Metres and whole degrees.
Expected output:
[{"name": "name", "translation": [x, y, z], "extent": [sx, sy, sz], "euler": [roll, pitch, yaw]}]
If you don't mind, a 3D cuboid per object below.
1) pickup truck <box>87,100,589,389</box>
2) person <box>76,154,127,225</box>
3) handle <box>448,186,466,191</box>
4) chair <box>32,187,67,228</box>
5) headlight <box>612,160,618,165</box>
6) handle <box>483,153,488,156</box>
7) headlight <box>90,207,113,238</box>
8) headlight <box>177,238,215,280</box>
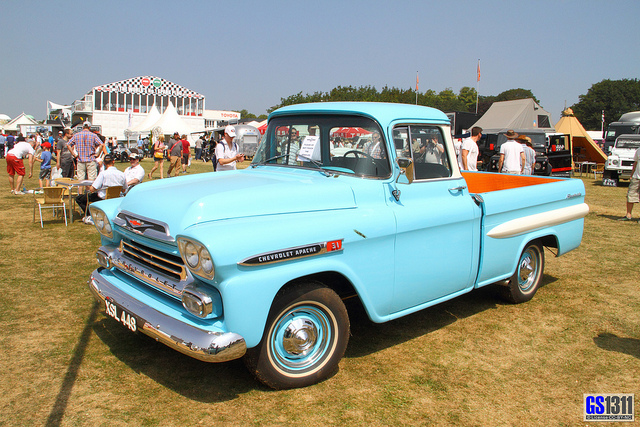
[{"name": "pickup truck", "translation": [0.253, 0.170, 5.397], "extent": [5.531, 3.151, 1.691], "euler": [-5, 8, -29]}, {"name": "person", "translation": [-5.129, -0.562, 9.998], "extent": [1.130, 1.692, 0.971], "euler": [11, 10, 26]}, {"name": "handle", "translation": [1.774, -0.337, 5.484], "extent": [0.196, 0.071, 0.064], "euler": [-7, 6, -26]}, {"name": "chair", "translation": [-6.444, -0.216, 10.165], "extent": [0.750, 0.924, 0.653], "euler": [12, 13, 33]}, {"name": "headlight", "translation": [13.161, -2.332, 19.002], "extent": [0.183, 0.195, 0.065], "euler": [2, 7, 22]}, {"name": "handle", "translation": [8.093, -2.936, 20.842], "extent": [0.169, 0.155, 0.046], "euler": [4, -4, 36]}, {"name": "headlight", "translation": [-2.618, 0.094, 5.099], "extent": [0.097, 0.367, 0.288], "euler": [-26, 4, -25]}, {"name": "headlight", "translation": [-1.125, 0.387, 4.072], "extent": [0.420, 0.314, 0.181], "euler": [28, 34, 25]}]
